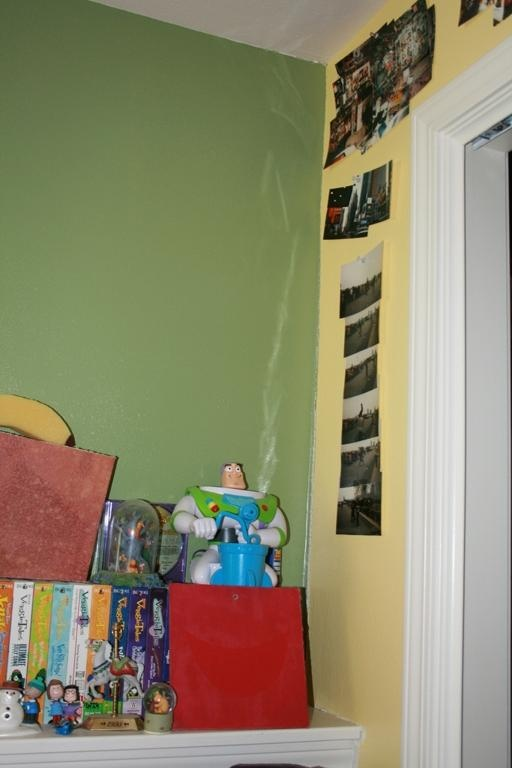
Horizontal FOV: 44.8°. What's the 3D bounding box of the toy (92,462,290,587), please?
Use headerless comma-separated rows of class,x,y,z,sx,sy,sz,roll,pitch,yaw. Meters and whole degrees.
toy,-0.110,0.275,1.166,0.299,0.223,0.211,5,-20,-12
